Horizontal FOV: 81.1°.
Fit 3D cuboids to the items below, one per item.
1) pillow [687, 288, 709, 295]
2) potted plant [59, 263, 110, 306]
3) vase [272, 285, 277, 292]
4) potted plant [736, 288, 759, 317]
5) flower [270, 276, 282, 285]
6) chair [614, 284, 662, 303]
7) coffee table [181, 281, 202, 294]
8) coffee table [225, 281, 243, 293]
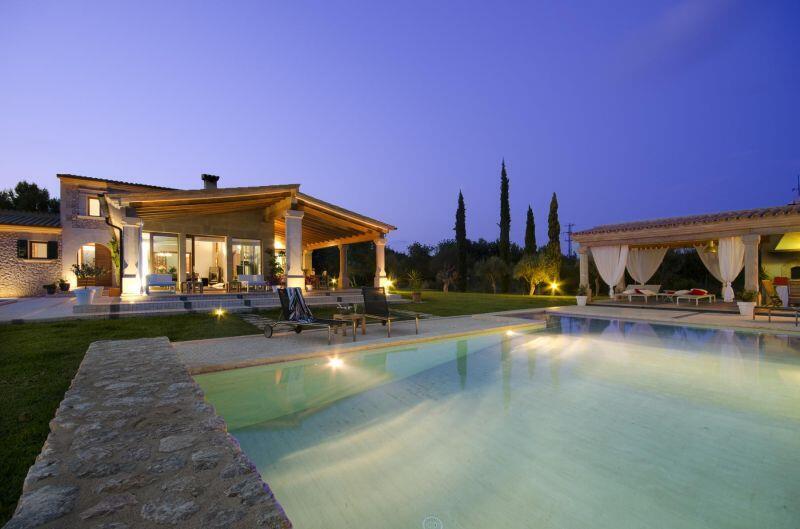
[{"bbox_3d":[13.222,1.317,20.782,0.711,0.427,1.336,-6,-2,27],"label":"pillow"},{"bbox_3d":[-13.782,0.869,20.188,1.761,1.643,1.582,1,-2,16],"label":"potted plant"},{"bbox_3d":[-5.352,1.034,19.858,0.238,0.276,0.257,0,-6,3],"label":"vase"},{"bbox_3d":[12.769,1.404,17.115,0.577,1.181,1.588,-5,-2,36],"label":"potted plant"},{"bbox_3d":[-5.663,0.766,21.344,0.406,0.370,0.423,1,-6,-9],"label":"flower"},{"bbox_3d":[11.886,1.400,23.160,1.512,0.930,2.792,-6,-2,36],"label":"chair"},{"bbox_3d":[-8.297,0.922,18.652,0.683,0.669,0.681,-1,-1,-22],"label":"coffee table"},{"bbox_3d":[-6.976,0.953,19.739,0.640,0.427,0.668,0,-1,2],"label":"coffee table"}]
